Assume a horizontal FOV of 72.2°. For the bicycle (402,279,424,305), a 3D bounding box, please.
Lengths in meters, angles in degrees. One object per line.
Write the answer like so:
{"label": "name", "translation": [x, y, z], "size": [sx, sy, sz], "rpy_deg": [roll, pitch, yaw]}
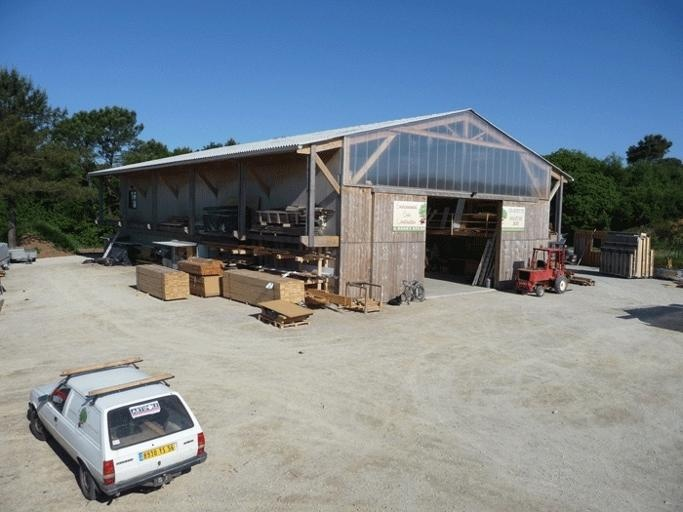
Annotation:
{"label": "bicycle", "translation": [3.545, 1.830, 23.791], "size": [1.420, 0.994, 0.759], "rpy_deg": [-7, 13, -37]}

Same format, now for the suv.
{"label": "suv", "translation": [-4.703, 3.836, 9.825], "size": [2.084, 1.794, 3.411], "rpy_deg": [-4, 16, -42]}

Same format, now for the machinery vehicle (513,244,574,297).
{"label": "machinery vehicle", "translation": [12.303, 0.712, 27.484], "size": [4.368, 2.746, 2.396], "rpy_deg": [-8, 10, -30]}
